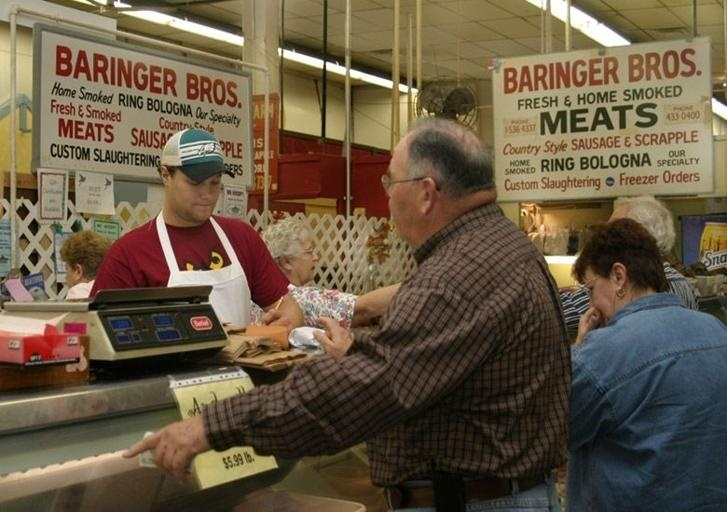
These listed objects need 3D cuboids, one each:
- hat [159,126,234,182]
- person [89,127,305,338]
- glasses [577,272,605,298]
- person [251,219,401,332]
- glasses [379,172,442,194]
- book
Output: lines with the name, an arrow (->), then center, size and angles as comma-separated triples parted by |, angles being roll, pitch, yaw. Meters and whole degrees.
hat -> -0.684, -0.441, 2.632 | 0.231, 0.185, 0.315 | -12, 25, -42
person -> -0.703, -0.093, 3.086 | 0.803, 1.240, 0.992 | 4, 8, 43
glasses -> 0.939, 0.111, 2.600 | 0.090, 0.028, 0.092 | 41, -7, -19
person -> -0.145, 0.164, 3.603 | 0.924, 0.642, 0.484 | 2, 3, 12
glasses -> 0.130, -0.227, 1.901 | 0.104, 0.036, 0.083 | -5, -8, 11
book -> -0.334, 0.306, 2.022 | 0.170, 0.046, 0.180 | 4, 0, 30
